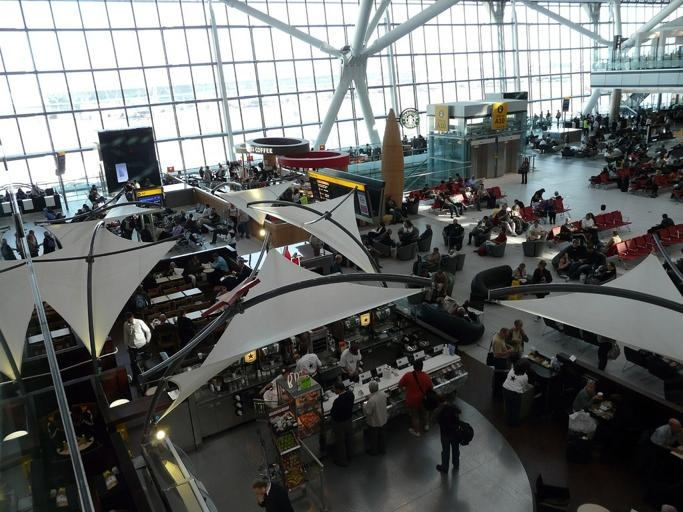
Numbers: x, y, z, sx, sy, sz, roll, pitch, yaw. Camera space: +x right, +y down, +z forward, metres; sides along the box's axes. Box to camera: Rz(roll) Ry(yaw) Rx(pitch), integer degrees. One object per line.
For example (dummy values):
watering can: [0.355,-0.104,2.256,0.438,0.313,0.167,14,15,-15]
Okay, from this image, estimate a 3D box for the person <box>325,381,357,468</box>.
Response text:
person: [0.010,3.269,9.308,0.476,1.783,0.391,-4,15,-3]

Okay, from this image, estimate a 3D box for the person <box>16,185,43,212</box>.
person: [-18.072,-3.257,27.399,1.278,1.437,1.060,-13,18,-32]

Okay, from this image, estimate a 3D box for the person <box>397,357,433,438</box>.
person: [1.576,2.867,9.751,0.576,1.699,0.532,-6,18,-3]

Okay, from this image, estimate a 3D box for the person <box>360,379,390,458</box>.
person: [0.693,3.192,9.533,0.490,1.631,0.557,-2,15,4]

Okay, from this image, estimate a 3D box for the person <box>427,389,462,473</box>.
person: [2.014,3.374,9.054,0.490,1.588,0.657,-1,15,10]

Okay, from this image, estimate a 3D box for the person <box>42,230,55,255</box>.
person: [-12.051,-0.640,19.308,0.409,0.725,1.020,-12,18,-31]

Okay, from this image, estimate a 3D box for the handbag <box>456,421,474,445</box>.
handbag: [2.291,3.320,8.746,0.320,0.525,0.167,-10,16,-22]

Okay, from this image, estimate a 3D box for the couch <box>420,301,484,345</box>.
couch: [2.879,1.737,12.538,0.968,0.510,1.319,-12,29,-43]

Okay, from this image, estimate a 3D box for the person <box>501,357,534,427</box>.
person: [3.738,2.854,9.956,0.656,1.309,0.356,-13,17,-31]

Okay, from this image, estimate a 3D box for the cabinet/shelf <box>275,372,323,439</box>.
cabinet/shelf: [-0.829,2.951,9.128,0.808,1.552,0.817,-13,25,-29]

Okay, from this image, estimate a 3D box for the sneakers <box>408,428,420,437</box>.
sneakers: [1.532,3.734,9.954,0.096,0.101,0.222,-25,35,-38]

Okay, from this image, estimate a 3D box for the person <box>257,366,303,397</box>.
person: [-1.244,2.556,9.644,0.814,0.198,0.763,-22,24,-23]

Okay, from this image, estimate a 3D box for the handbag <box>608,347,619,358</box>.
handbag: [6.370,2.253,11.082,0.217,0.304,0.073,28,9,-11]

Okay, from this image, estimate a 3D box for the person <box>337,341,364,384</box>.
person: [0.219,2.711,10.708,0.503,1.596,0.470,-1,20,-3]

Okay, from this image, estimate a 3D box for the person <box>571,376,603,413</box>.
person: [4.882,2.948,9.358,0.458,0.865,0.406,10,12,21]
